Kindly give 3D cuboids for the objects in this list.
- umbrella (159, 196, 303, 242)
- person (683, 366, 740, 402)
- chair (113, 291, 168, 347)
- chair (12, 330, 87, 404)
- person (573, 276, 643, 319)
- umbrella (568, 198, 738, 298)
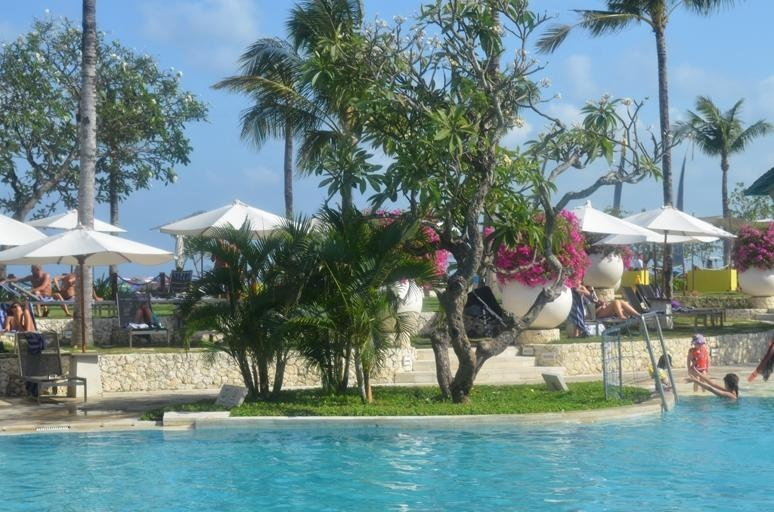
[{"bbox_3d":[-4.197,-0.822,37.725,5.192,1.759,2.181,1,-2,-25],"label":"umbrella"},{"bbox_3d":[9.283,3.672,37.674,0.957,0.926,1.493,-4,-7,-32],"label":"person"},{"bbox_3d":[-7.601,1.940,41.266,1.182,1.387,2.077,0,-1,-26],"label":"chair"},{"bbox_3d":[-9.505,2.948,37.780,1.385,1.834,2.477,2,-4,-36],"label":"chair"},{"bbox_3d":[7.294,1.440,43.480,1.707,0.852,1.218,-3,1,26],"label":"person"},{"bbox_3d":[9.048,-0.964,47.375,4.954,1.887,4.876,-1,-2,-1],"label":"umbrella"}]
